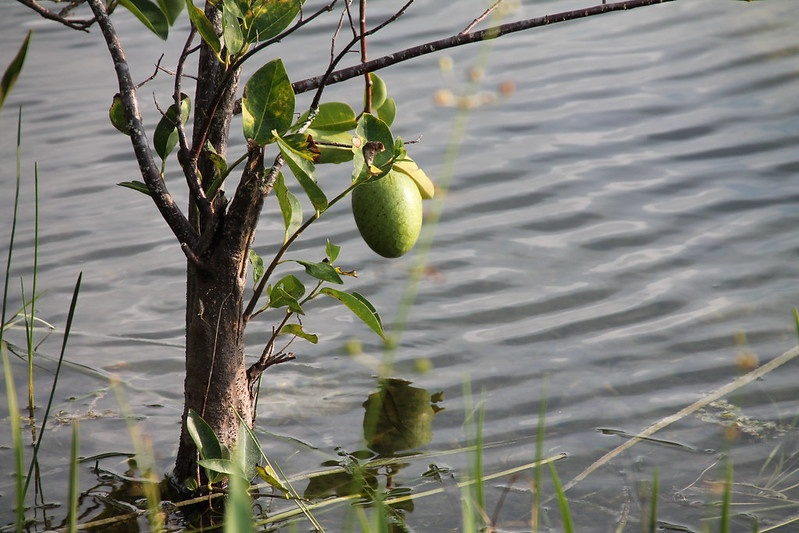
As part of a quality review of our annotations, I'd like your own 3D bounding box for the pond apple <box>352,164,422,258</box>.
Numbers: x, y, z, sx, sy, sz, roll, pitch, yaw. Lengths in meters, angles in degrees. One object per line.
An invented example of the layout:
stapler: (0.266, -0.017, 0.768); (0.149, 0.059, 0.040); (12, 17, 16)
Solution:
pond apple: (-0.039, -0.174, 3.739); (0.198, 0.282, 0.146); (1, -11, -37)
